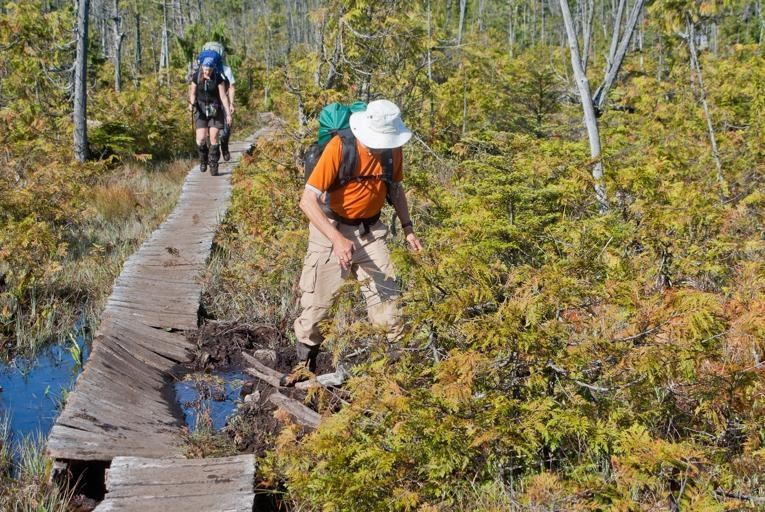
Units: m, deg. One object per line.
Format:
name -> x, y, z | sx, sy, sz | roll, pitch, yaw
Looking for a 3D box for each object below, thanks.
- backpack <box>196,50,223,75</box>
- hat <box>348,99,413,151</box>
backpack -> -3.211, -3.581, 15.502 | 0.332, 0.511, 0.481 | -2, 2, -14
hat -> -0.041, -1.510, 9.651 | 0.714, 0.559, 0.256 | 1, 5, 0
